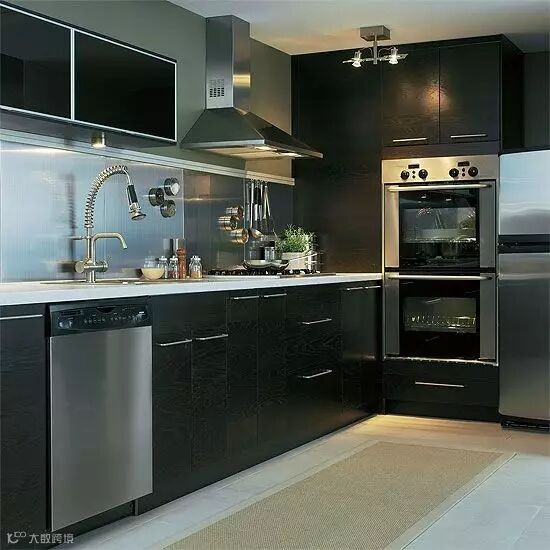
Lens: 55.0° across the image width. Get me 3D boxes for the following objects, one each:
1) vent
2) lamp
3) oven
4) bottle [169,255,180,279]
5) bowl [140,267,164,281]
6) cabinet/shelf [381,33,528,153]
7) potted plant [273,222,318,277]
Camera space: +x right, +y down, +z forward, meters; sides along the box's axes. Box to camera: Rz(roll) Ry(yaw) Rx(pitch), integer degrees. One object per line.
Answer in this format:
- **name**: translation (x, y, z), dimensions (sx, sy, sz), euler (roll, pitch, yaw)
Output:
- **vent**: translation (-0.160, -1.285, 3.639), dimensions (0.525, 0.818, 0.965), euler (6, 12, 17)
- **lamp**: translation (0.691, -1.545, 3.575), dimensions (0.444, 0.213, 0.407), euler (-6, 20, -17)
- **oven**: translation (1.502, -0.107, 4.145), dimensions (1.063, 1.608, 0.964), euler (0, 0, 41)
- **bottle**: translation (-0.598, -0.046, 3.128), dimensions (0.061, 0.125, 0.094), euler (1, -4, -12)
- **bowl**: translation (-0.667, -0.013, 2.898), dimensions (0.089, 0.042, 0.083), euler (0, 3, 0)
- **cabinet/shelf**: translation (1.414, -1.347, 4.172), dimensions (0.950, 0.790, 0.508), euler (10, 25, 38)
- **potted plant**: translation (0.180, -0.177, 4.056), dimensions (0.324, 0.261, 0.394), euler (1, -3, -14)
